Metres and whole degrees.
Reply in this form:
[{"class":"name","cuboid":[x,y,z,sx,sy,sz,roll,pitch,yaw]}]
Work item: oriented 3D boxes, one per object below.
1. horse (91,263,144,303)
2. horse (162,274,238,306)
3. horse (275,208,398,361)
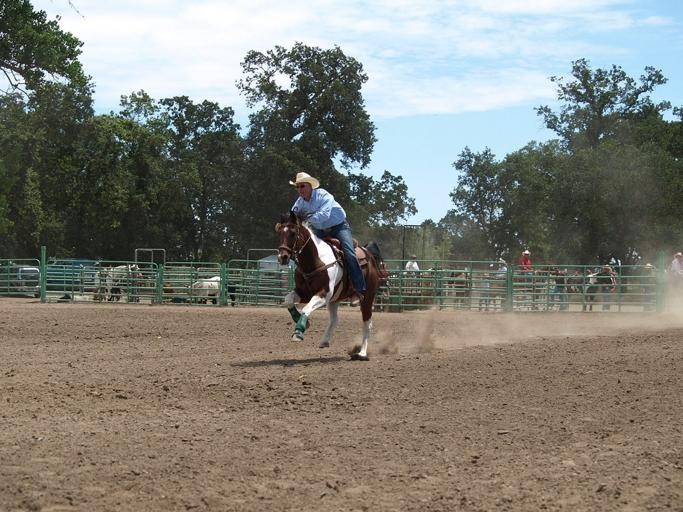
[{"class":"horse","cuboid":[-7.441,0.792,32.226,1.757,1.394,1.571,-1,6,5]},{"class":"horse","cuboid":[-4.686,1.116,31.941,1.624,0.714,1.216,1,-3,3]},{"class":"horse","cuboid":[-0.267,0.509,18.474,1.474,2.824,2.595,1,6,16]}]
